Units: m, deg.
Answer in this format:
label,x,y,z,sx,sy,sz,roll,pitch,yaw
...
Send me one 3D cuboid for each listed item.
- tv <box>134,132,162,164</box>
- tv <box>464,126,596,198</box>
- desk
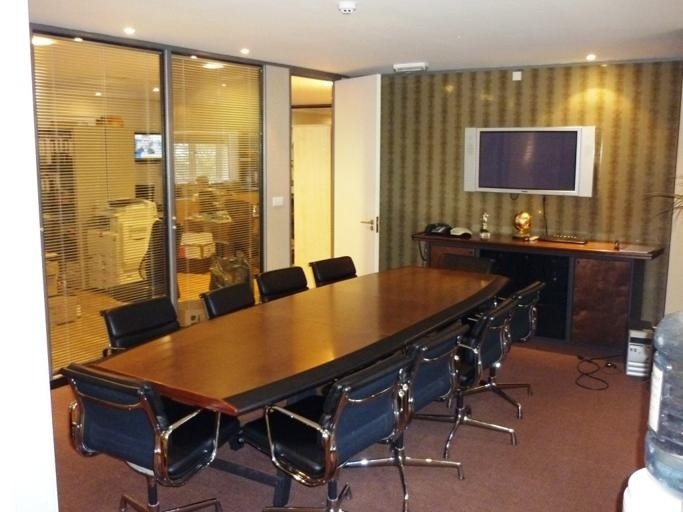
label,x,y,z,sx,sy,sz,roll,pitch,yaw
tv,-1.945,-1.097,5.246,0.036,0.230,0.368,12,18,36
tv,2.201,-1.134,6.209,1.634,0.764,0.086,-1,8,-12
desk,2.236,0.317,6.164,2.645,0.963,0.665,5,13,39
